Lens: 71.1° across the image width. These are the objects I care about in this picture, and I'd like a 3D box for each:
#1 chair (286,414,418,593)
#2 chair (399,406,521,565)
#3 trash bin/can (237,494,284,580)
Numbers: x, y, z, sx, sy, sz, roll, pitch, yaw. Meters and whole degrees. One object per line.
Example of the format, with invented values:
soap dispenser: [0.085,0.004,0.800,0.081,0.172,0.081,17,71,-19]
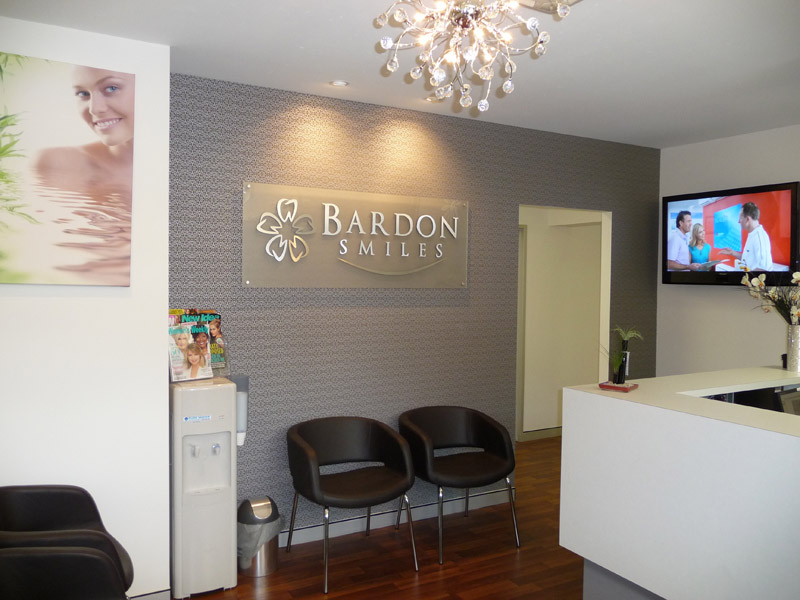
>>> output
chair: [-0.368,1.403,4.248,0.946,1.221,1.002,2,-6,-28]
chair: [0.442,1.376,4.575,0.912,1.217,1.019,0,-3,-25]
trash bin/can: [-0.983,1.642,3.895,0.277,0.469,0.224,-2,6,-18]
